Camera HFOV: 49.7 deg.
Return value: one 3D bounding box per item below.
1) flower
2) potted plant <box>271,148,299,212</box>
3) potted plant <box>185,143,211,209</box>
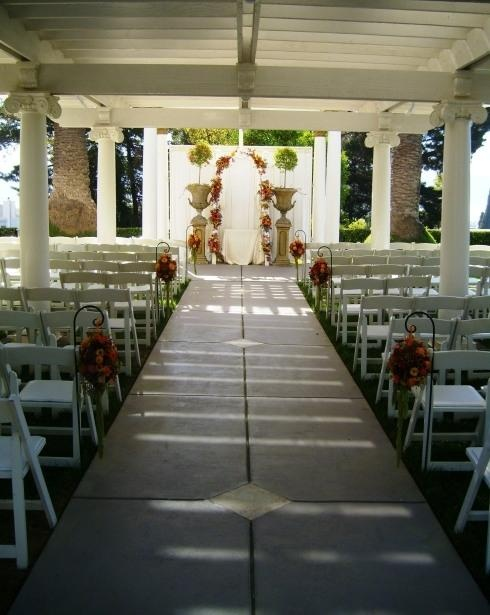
[{"bbox_3d":[-0.141,-2.696,14.135,1.752,3.015,1.007,1,9,1],"label":"flower"},{"bbox_3d":[1.022,-3.294,13.783,0.572,1.708,0.990,1,9,3],"label":"potted plant"},{"bbox_3d":[-1.203,-3.394,13.741,0.649,1.819,1.301,0,9,-6],"label":"potted plant"}]
